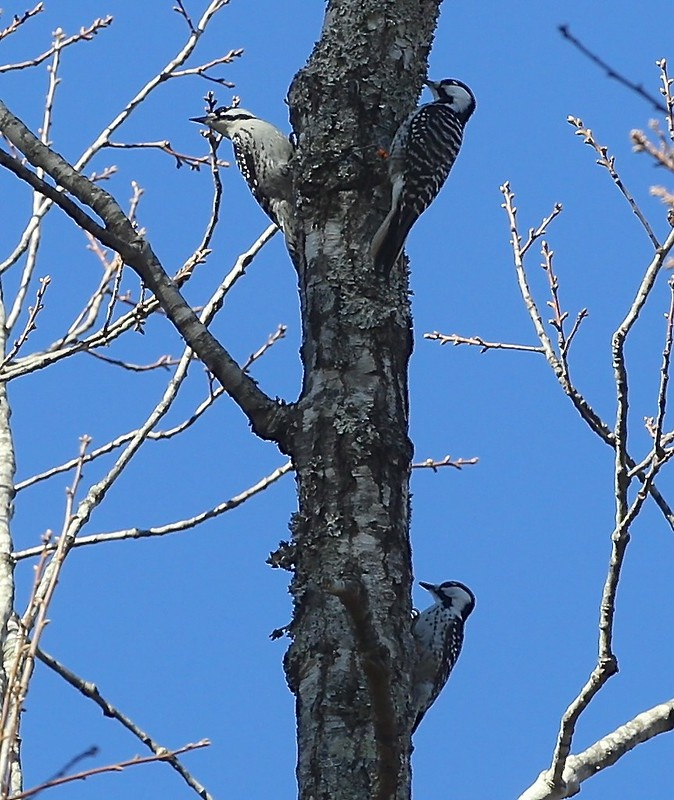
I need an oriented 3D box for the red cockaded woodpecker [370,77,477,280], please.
[{"bbox_3d":[0.327,-0.951,9.006,0.307,0.912,0.269,30,-19,12],"label":"red cockaded woodpecker"}]
